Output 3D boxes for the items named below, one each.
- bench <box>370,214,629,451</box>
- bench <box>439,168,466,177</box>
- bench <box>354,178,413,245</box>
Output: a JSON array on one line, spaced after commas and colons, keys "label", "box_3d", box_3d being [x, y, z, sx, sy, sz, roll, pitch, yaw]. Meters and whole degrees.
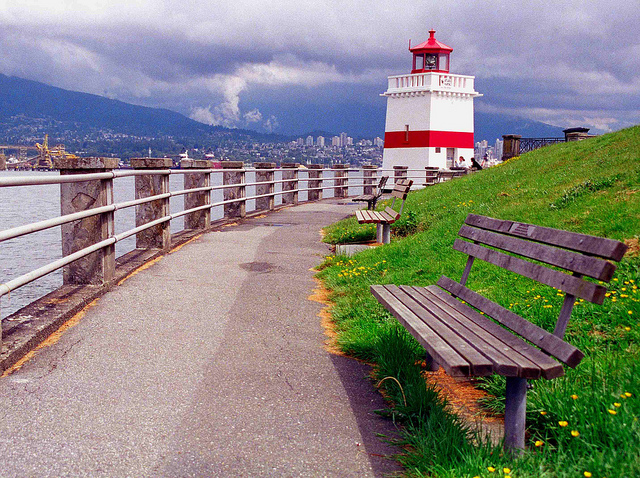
[{"label": "bench", "box_3d": [1.226, 0.676, 4.576, 1.125, 1.652, 2.566, 1, 6, -7]}, {"label": "bench", "box_3d": [6.549, -3.250, 26.613, 1.893, 0.345, 0.415, -8, 15, -40]}, {"label": "bench", "box_3d": [1.273, -0.551, 11.321, 0.966, 1.208, 2.617, -1, 5, 3]}]
